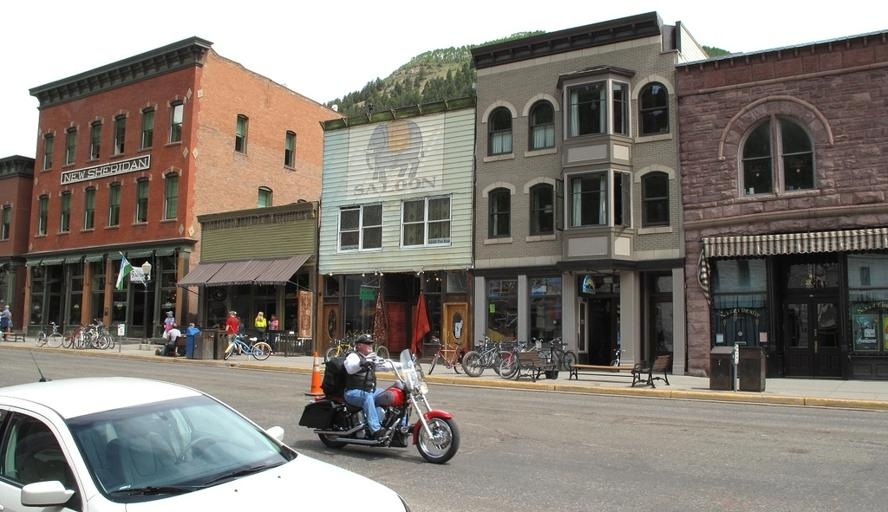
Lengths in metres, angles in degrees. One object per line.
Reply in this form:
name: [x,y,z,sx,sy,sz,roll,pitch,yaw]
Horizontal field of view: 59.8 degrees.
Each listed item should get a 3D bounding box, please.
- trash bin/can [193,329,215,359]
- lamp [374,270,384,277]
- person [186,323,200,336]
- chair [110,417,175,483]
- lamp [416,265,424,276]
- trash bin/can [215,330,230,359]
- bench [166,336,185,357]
trash bin/can: [-11.548,4.251,37.243,0.958,1.384,0.401,3,-12,-17]
lamp: [-3.374,0.898,39.380,0.189,0.213,0.710,-35,9,-37]
person: [-12.924,3.737,39.464,0.694,0.850,0.515,1,6,-1]
chair: [-6.501,4.093,16.644,1.402,1.235,1.258,-3,-15,-29]
lamp: [-1.221,0.690,38.308,0.455,0.410,0.259,-8,-13,38]
trash bin/can: [-10.862,4.297,37.584,0.290,1.375,0.722,-10,-15,41]
bench: [-13.435,4.499,38.599,0.927,1.209,1.170,3,-2,-37]
